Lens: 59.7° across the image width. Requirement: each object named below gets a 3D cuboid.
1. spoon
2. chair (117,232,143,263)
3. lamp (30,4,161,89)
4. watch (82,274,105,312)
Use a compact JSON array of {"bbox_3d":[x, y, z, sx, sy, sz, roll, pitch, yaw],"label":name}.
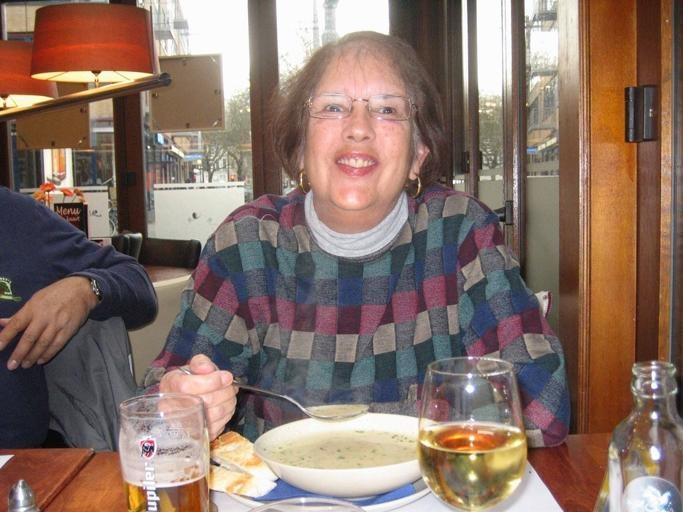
[{"bbox_3d":[-0.124,0.279,1.208,0.357,0.050,0.076,16,-25,-5],"label":"spoon"},{"bbox_3d":[-1.147,-0.048,3.213,0.151,0.207,0.141,10,11,42],"label":"chair"},{"bbox_3d":[-0.934,-0.776,2.374,0.411,0.281,0.433,-1,6,-6],"label":"lamp"},{"bbox_3d":[-0.635,0.098,1.541,0.025,0.075,0.054,-16,6,15],"label":"watch"}]
